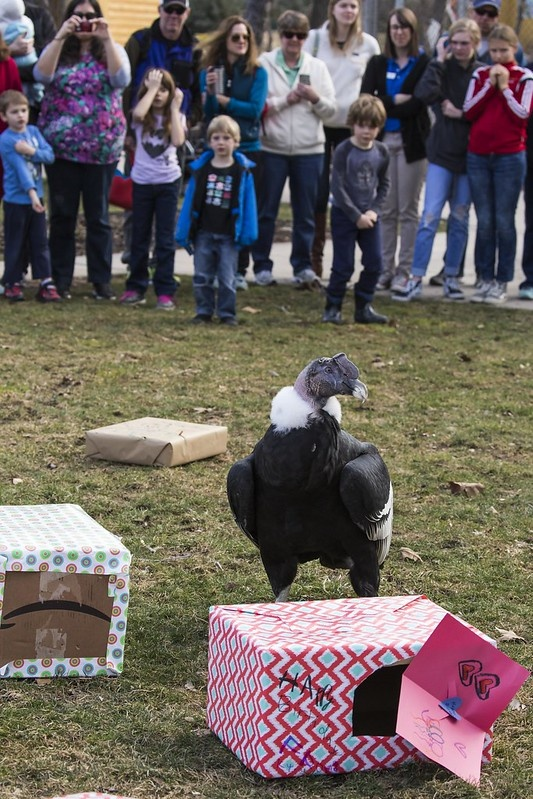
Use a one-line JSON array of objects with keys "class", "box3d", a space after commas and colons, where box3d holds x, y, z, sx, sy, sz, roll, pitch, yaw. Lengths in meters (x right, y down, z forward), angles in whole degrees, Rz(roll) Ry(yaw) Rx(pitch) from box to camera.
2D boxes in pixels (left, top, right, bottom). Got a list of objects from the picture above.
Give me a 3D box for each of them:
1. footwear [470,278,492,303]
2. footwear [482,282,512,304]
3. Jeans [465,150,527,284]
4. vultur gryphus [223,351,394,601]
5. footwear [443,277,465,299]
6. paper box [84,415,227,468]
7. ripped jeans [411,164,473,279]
[{"class": "footwear", "box3d": [1.641, -0.811, 10.429, 0.096, 0.168, 0.270, 15, 4, 13]}, {"class": "footwear", "box3d": [1.749, -0.801, 10.331, 0.174, 0.215, 0.530, 1, 3, 14]}, {"class": "Jeans", "box3d": [1.685, -1.352, 10.050, 0.425, 0.971, 0.732, 4, 4, 10]}, {"class": "vultur gryphus", "box3d": [0.140, 0.278, 4.420, 0.534, 0.859, 0.420, 4, 4, 3]}, {"class": "footwear", "box3d": [1.476, -0.850, 10.581, 0.090, 0.130, 0.278, -3, 5, -9]}, {"class": "paper box", "box3d": [-0.515, 0.207, 6.290, 0.657, 0.179, 0.458, 3, 4, -2]}, {"class": "ripped jeans", "box3d": [1.365, -1.369, 10.277, 0.458, 1.305, 0.303, 9, -37, 0]}]
